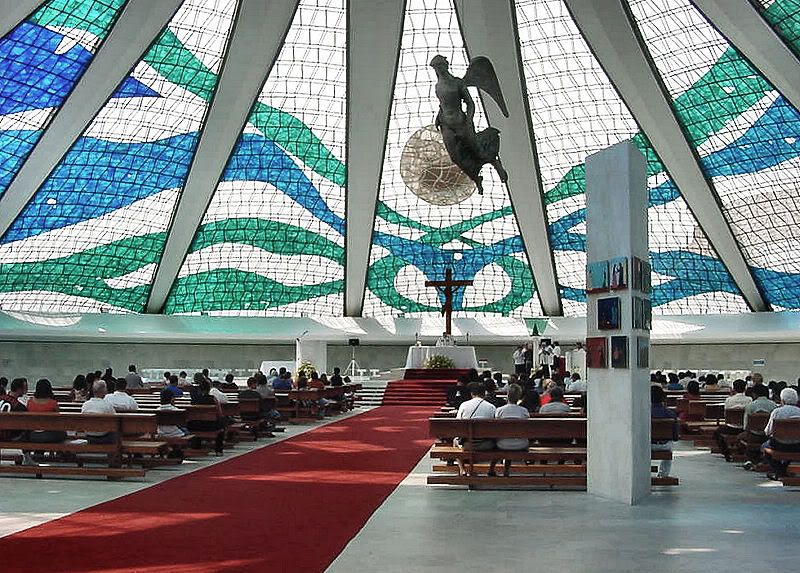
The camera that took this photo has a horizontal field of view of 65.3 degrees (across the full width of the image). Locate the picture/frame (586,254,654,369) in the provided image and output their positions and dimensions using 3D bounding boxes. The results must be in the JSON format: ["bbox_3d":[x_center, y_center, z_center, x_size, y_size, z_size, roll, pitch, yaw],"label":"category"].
[{"bbox_3d":[2.935,0.368,8.540,0.807,1.560,0.593,0,-4,31],"label":"picture/frame"}]

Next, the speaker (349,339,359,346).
[{"bbox_3d":[-2.566,3.077,34.874,0.469,0.299,0.477,-1,2,12],"label":"speaker"}]
